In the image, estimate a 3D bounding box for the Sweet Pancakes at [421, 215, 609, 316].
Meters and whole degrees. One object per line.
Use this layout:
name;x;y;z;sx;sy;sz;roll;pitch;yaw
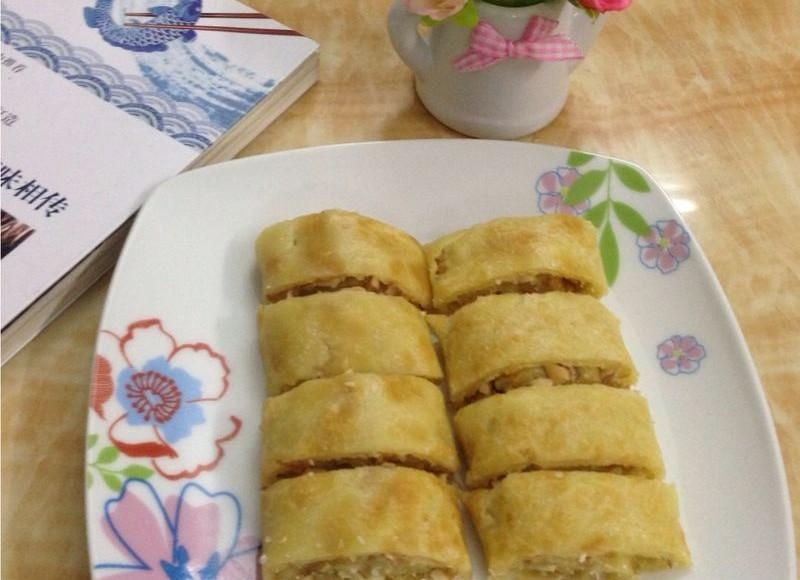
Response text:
Sweet Pancakes;0.231;-0.073;1.899;0.353;0.117;0.223;-8;39;8
